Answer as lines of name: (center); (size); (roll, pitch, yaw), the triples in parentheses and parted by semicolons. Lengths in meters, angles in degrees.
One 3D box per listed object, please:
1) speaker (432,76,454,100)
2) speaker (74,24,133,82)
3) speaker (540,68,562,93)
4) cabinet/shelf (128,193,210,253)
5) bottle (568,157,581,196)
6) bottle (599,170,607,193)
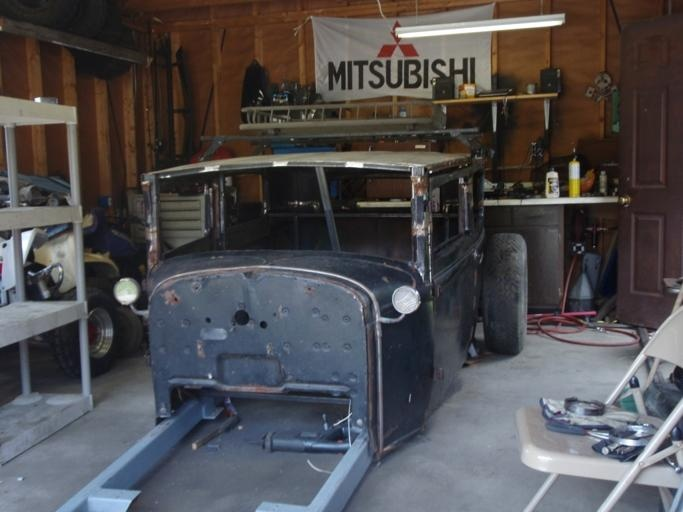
speaker: (1.233, -2.022, 7.594); (0.266, 0.260, 0.138); (1, 11, 9)
speaker: (-2.995, -2.577, 8.070); (0.278, 0.576, 0.735); (29, 37, 20)
speaker: (2.466, -2.073, 7.444); (0.231, 0.284, 0.272); (2, 11, 15)
cabinet/shelf: (-1.261, -0.320, 4.544); (0.303, 0.417, 0.508); (5, 7, 44)
bottle: (2.539, -0.838, 6.846); (0.135, 0.383, 0.477); (3, 12, 20)
bottle: (2.887, -0.807, 6.941); (0.085, 0.246, 0.397); (3, 12, 21)
